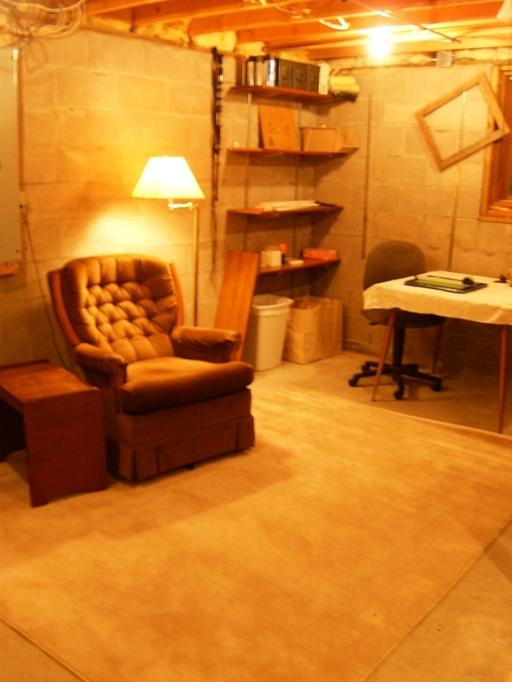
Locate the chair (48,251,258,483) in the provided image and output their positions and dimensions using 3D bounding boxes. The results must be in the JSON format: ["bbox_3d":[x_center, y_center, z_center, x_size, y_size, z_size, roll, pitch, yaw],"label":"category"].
[{"bbox_3d":[-0.547,0.072,3.005,0.977,0.975,0.880,11,18,41],"label":"chair"}]

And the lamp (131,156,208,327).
[{"bbox_3d":[-0.504,-0.461,3.540,0.500,1.227,0.415,-2,8,-14],"label":"lamp"}]

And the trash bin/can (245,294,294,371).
[{"bbox_3d":[0.055,-0.068,4.433,0.422,0.484,0.336,3,-1,-4],"label":"trash bin/can"}]

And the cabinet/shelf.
[{"bbox_3d":[0.311,-1.306,4.664,0.417,1.239,1.410,9,17,37],"label":"cabinet/shelf"}]
